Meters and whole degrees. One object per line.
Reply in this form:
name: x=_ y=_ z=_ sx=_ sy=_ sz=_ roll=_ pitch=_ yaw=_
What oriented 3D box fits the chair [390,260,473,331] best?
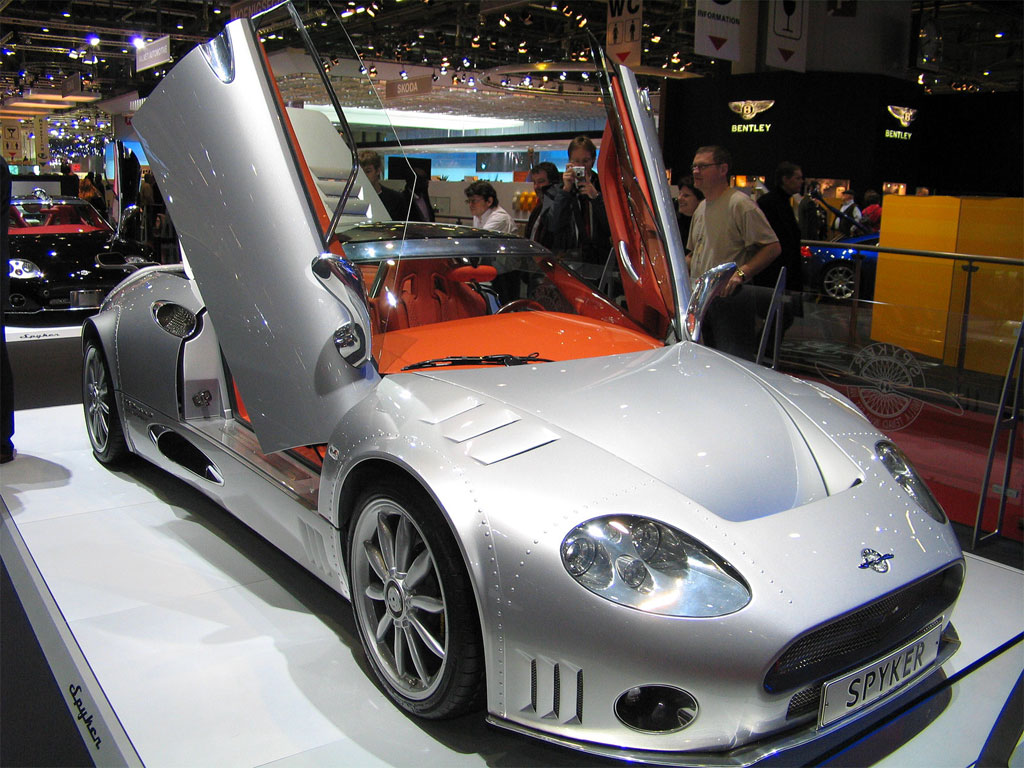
chair: x=-0.344 y=-0.393 z=2.858 sx=0.255 sy=0.379 sz=0.283 roll=-15 pitch=37 yaw=-37

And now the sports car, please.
sports car: x=-0.262 y=-0.159 z=2.807 sx=1.811 sy=1.929 sz=3.622 roll=-14 pitch=26 yaw=-39
